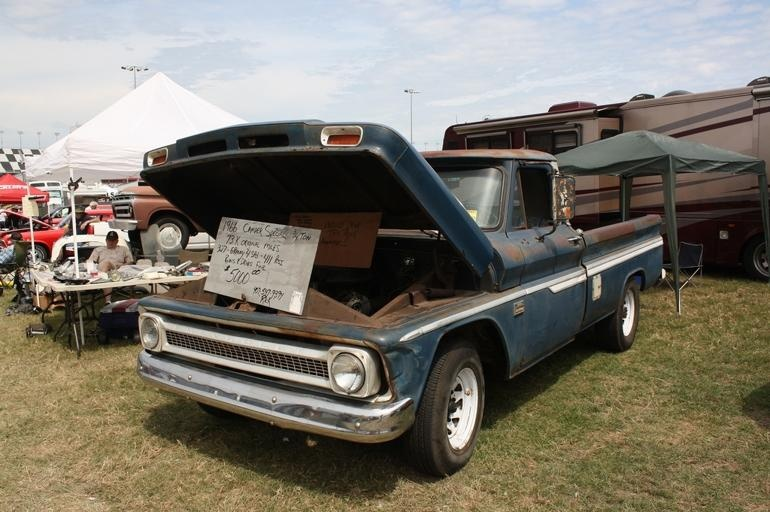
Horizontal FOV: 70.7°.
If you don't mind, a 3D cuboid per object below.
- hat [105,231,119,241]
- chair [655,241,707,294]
[{"bbox_3d":[-4.956,-0.368,9.849,0.181,0.121,0.237,2,-1,-2],"label":"hat"},{"bbox_3d":[5.716,0.222,10.477,0.777,0.835,0.618,-7,11,-19],"label":"chair"}]
